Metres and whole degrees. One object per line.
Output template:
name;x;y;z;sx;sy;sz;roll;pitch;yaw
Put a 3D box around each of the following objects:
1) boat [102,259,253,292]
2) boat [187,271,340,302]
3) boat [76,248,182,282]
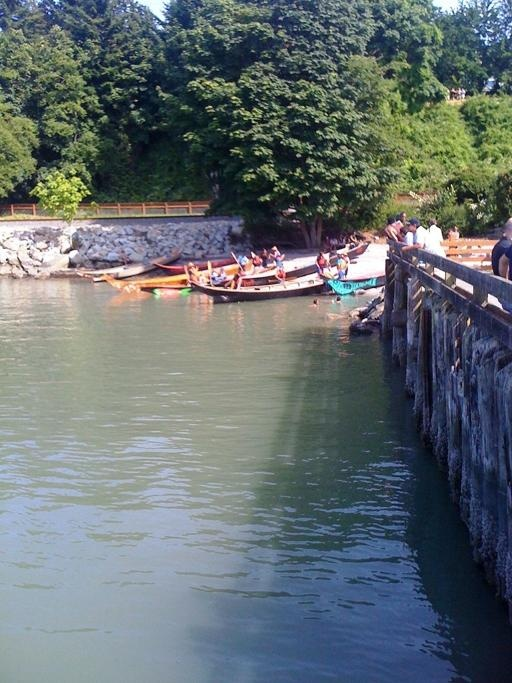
boat;-4.386;-3.162;42.234;8.133;1.551;3.245;-11;11;-41
boat;0.332;-2.232;35.811;5.704;0.928;1.316;-7;14;-22
boat;-7.660;-4.527;49.058;6.518;0.797;1.361;-22;28;-39
